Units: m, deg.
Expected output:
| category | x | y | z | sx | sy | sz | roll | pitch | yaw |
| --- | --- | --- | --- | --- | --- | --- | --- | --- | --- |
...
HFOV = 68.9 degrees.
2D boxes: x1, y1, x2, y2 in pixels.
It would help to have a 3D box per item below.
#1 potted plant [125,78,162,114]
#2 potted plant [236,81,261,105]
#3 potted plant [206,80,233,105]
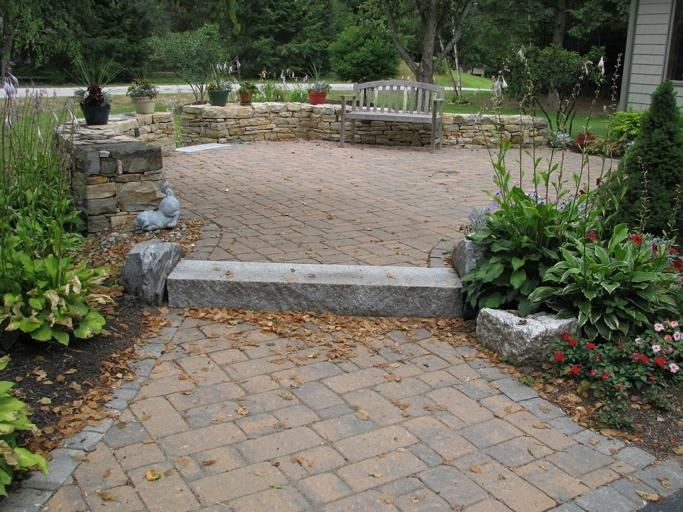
| category | x | y | z | sx | sy | sz | roll | pitch | yaw |
| --- | --- | --- | --- | --- | --- | --- | --- | --- | --- |
| potted plant | -3.694 | -2.923 | 9.128 | 0.687 | 0.474 | 0.573 | -8 | 22 | -19 |
| potted plant | -2.055 | -3.557 | 10.804 | 0.334 | 0.481 | 0.412 | -1 | 20 | -3 |
| potted plant | -2.646 | -3.604 | 10.863 | 0.823 | 0.425 | 0.684 | 0 | 7 | -5 |
